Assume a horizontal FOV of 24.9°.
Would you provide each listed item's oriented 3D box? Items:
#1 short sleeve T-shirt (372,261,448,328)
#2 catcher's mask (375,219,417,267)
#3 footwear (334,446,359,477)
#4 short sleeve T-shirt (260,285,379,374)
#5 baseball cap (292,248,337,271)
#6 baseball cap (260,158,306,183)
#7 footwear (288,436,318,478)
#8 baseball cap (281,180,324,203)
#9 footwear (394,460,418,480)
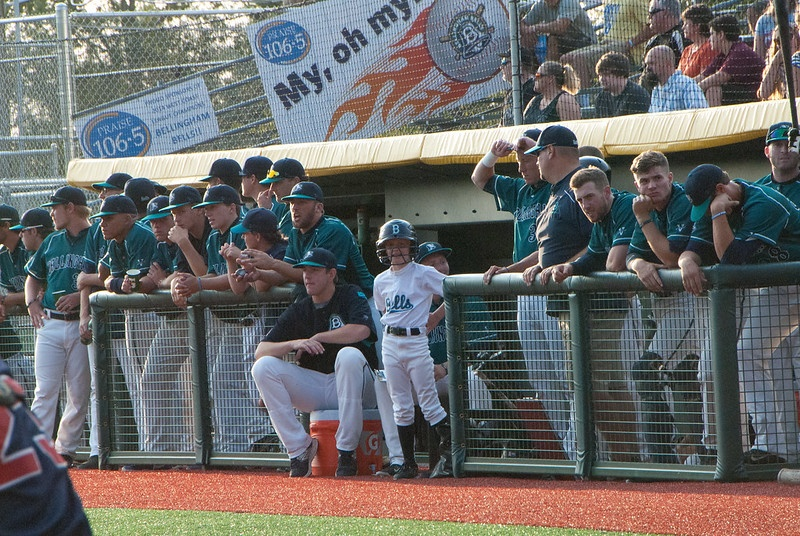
[{"bbox_3d":[0.102,0.231,15.082,0.517,0.375,0.259,-8,-16,17],"label":"short sleeve T-shirt"},{"bbox_3d":[-0.024,-0.191,15.234,0.313,0.307,0.394,-2,-11,6],"label":"catcher's mask"},{"bbox_3d":[-0.433,1.616,15.049,0.179,0.219,0.245,-2,-2,-2],"label":"footwear"},{"bbox_3d":[-0.620,0.467,15.278,1.066,0.738,0.703,1,-4,25],"label":"short sleeve T-shirt"},{"bbox_3d":[-0.672,-0.067,15.099,0.260,0.121,0.181,3,-2,-14],"label":"baseball cap"},{"bbox_3d":[-1.012,-0.853,15.927,0.307,0.151,0.211,-1,3,-8],"label":"baseball cap"},{"bbox_3d":[-0.812,1.580,15.096,0.208,0.310,0.251,-3,-2,22],"label":"footwear"},{"bbox_3d":[-0.788,-0.650,15.424,0.262,0.130,0.183,2,1,-10],"label":"baseball cap"},{"bbox_3d":[0.053,1.670,14.930,0.198,0.132,0.271,-2,-2,-1],"label":"footwear"}]
